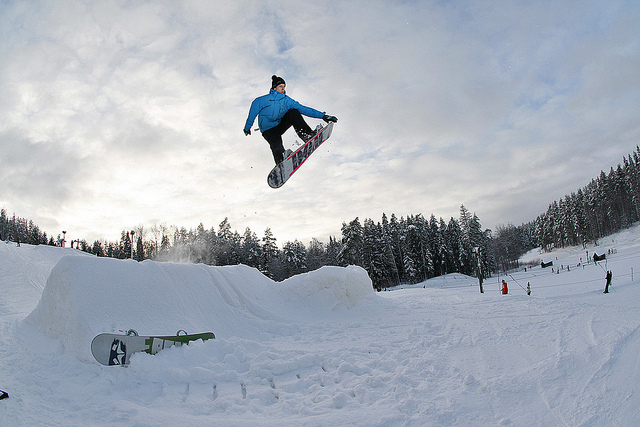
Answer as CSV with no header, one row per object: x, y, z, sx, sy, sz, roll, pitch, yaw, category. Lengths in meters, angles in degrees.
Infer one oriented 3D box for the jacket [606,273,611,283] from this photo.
13.613,3.013,20.831,0.117,0.543,0.288,-5,-37,20,jacket

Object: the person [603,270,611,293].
13.572,3.251,20.881,0.251,0.913,0.958,4,10,33,person
